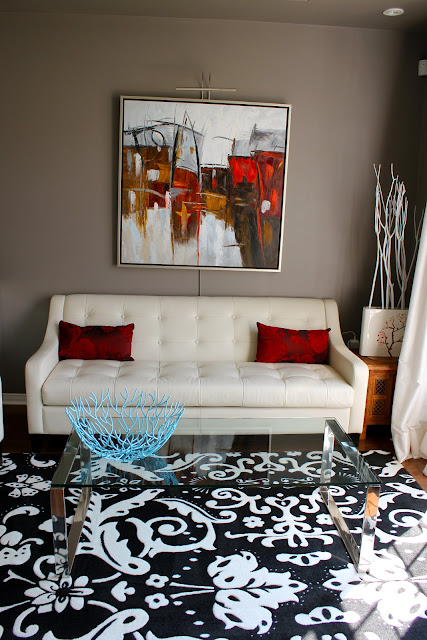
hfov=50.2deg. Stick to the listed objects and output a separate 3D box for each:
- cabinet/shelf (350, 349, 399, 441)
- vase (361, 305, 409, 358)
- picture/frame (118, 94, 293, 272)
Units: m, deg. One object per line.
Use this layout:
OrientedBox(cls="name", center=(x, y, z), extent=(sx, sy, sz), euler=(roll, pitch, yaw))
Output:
OrientedBox(cls="cabinet/shelf", center=(0.994, 0.519, 2.977), extent=(0.278, 0.401, 0.290), euler=(-1, -10, 34))
OrientedBox(cls="vase", center=(1.150, 0.090, 3.040), extent=(0.298, 0.314, 0.110), euler=(2, 10, -5))
OrientedBox(cls="picture/frame", center=(-0.093, -1.025, 3.226), extent=(1.094, 1.182, 0.044), euler=(2, 18, -5))
